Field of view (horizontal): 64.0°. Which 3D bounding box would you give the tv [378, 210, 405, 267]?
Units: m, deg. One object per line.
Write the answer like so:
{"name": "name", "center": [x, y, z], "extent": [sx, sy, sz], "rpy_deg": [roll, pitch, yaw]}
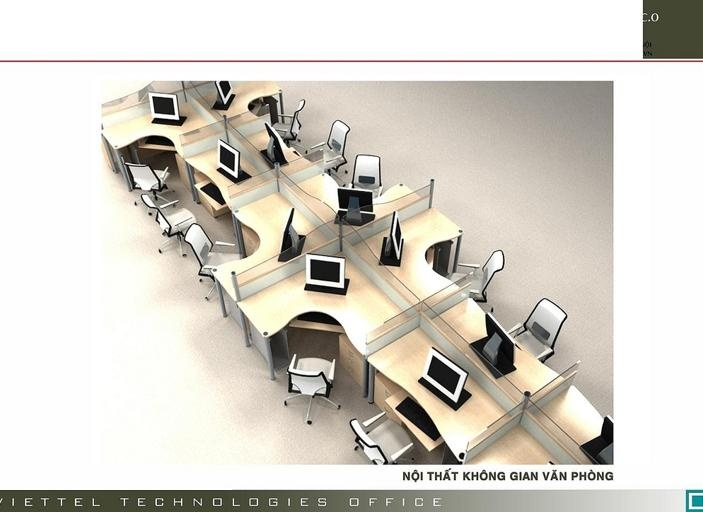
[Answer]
{"name": "tv", "center": [0.510, -0.214, 7.455], "extent": [0.309, 0.538, 0.558], "rpy_deg": [4, 53, 2]}

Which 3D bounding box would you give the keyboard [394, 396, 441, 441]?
{"name": "keyboard", "center": [0.756, 1.864, 6.405], "extent": [0.232, 0.315, 0.514], "rpy_deg": [-22, 26, -36]}

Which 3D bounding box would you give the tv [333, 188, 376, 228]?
{"name": "tv", "center": [0.019, -0.645, 7.585], "extent": [0.472, 0.409, 0.347], "rpy_deg": [8, 47, 10]}

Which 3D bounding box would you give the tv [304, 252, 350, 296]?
{"name": "tv", "center": [-0.299, 0.174, 7.226], "extent": [0.546, 0.477, 0.333], "rpy_deg": [6, 34, 9]}

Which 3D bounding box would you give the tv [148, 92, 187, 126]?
{"name": "tv", "center": [-3.023, -2.394, 9.178], "extent": [0.528, 0.478, 0.264], "rpy_deg": [8, 36, 10]}

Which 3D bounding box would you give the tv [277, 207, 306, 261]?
{"name": "tv", "center": [-0.797, -0.271, 7.528], "extent": [0.301, 0.511, 0.547], "rpy_deg": [6, 44, 3]}

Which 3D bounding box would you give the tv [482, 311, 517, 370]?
{"name": "tv", "center": [1.644, 1.004, 6.452], "extent": [0.238, 0.498, 0.574], "rpy_deg": [-19, 37, -11]}

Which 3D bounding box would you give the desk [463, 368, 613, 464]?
{"name": "desk", "center": [2.023, 1.850, 6.207], "extent": [1.179, 0.464, 1.173], "rpy_deg": [27, 56, 25]}

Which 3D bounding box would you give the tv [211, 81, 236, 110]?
{"name": "tv", "center": [-2.165, -2.699, 9.438], "extent": [0.242, 0.436, 0.458], "rpy_deg": [14, 38, 14]}

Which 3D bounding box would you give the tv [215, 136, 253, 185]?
{"name": "tv", "center": [-1.758, -1.417, 8.463], "extent": [0.580, 0.555, 0.394], "rpy_deg": [36, 44, 26]}

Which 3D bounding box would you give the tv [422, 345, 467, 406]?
{"name": "tv", "center": [0.976, 1.357, 6.379], "extent": [0.309, 0.559, 0.397], "rpy_deg": [-7, 53, 60]}
